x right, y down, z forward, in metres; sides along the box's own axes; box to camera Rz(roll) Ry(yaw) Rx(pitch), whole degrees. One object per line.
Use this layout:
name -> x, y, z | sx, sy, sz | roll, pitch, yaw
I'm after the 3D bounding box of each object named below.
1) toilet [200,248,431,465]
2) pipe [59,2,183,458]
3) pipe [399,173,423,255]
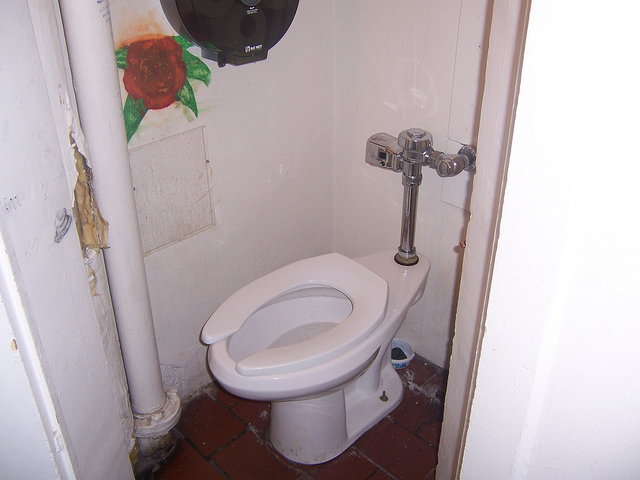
toilet -> 0.020, 0.372, 1.601 | 0.720, 0.513, 0.438 | -26, 34, -33
pipe -> -0.502, 0.096, 1.312 | 0.168, 1.290, 0.164 | 20, 34, 40
pipe -> 0.280, -0.093, 1.580 | 0.061, 0.275, 0.121 | 1, 26, 10
